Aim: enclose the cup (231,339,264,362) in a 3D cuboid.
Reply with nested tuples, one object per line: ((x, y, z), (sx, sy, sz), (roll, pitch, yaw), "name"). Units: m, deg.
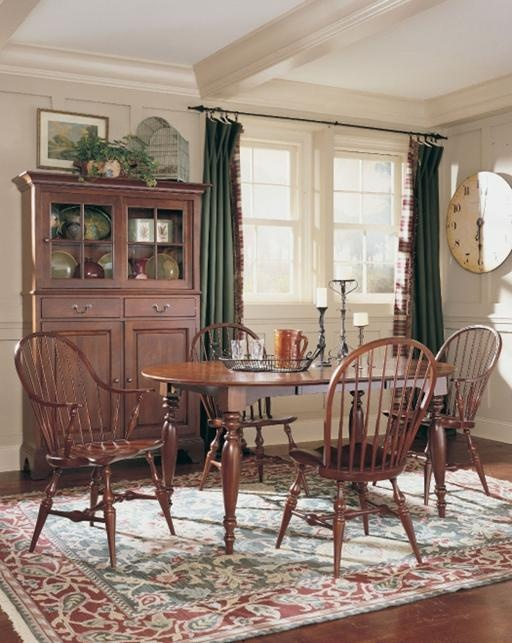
((-0.039, 0.139, 2.939), (0.126, 0.102, 0.116), (1, -1, 0), "cup")

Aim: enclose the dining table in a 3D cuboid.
((-0.082, 0.337, 2.848), (1.533, 0.639, 0.869), (-1, 1, -34), "dining table")

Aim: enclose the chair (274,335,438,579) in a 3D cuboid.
((0.399, 0.543, 2.551), (0.617, 0.840, 0.509), (4, -5, -9), "chair")

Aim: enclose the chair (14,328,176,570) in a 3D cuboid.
((-0.719, 0.539, 2.782), (0.655, 0.906, 0.608), (2, -3, 29), "chair")

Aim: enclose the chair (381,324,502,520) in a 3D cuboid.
((1.197, 0.553, 3.984), (0.727, 1.029, 0.685), (10, 10, 37), "chair")

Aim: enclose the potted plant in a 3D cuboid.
((-0.882, -1.053, 4.035), (0.492, 0.237, 0.457), (14, 0, 2), "potted plant")

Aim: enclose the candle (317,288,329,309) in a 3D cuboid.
((0.349, -0.119, 3.228), (0.048, 0.108, 0.053), (1, -1, -6), "candle")

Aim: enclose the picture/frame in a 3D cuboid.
((-1.217, -1.191, 4.066), (0.555, 0.394, 0.031), (9, 17, 16), "picture/frame")
